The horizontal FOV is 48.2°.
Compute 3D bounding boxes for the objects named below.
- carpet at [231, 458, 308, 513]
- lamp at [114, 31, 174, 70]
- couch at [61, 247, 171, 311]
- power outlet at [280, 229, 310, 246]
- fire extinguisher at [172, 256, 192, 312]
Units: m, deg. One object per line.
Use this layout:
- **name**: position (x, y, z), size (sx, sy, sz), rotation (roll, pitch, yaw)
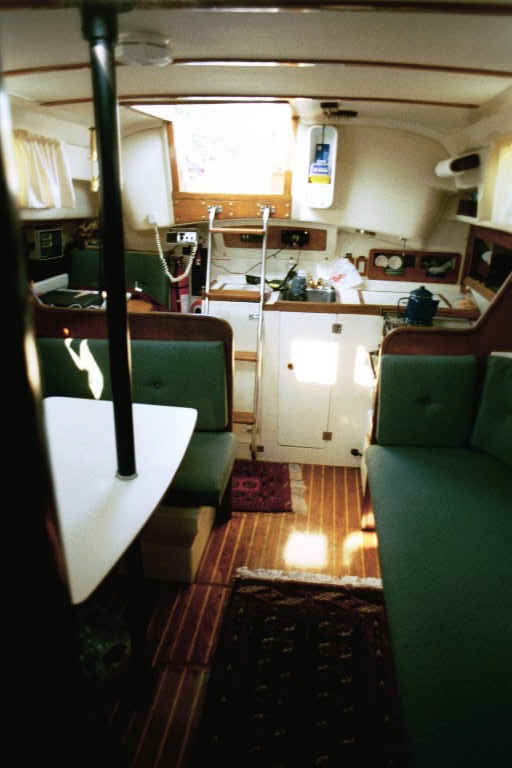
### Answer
- **carpet**: position (0.072, 0.600, 3.307), size (0.417, 0.073, 0.542), rotation (-2, 16, 0)
- **lamp**: position (-0.340, -1.019, 1.743), size (0.163, 0.047, 0.341), rotation (-3, 16, -5)
- **couch**: position (-1.118, -0.847, 4.695), size (0.821, 0.541, 0.297), rotation (-1, 14, 5)
- **power outlet**: position (0.284, -1.083, 4.223), size (0.178, 0.129, 0.130), rotation (3, 20, 14)
- **fire extinguisher**: position (-0.611, -0.816, 4.704), size (0.139, 0.473, 0.332), rotation (-7, 15, -19)
